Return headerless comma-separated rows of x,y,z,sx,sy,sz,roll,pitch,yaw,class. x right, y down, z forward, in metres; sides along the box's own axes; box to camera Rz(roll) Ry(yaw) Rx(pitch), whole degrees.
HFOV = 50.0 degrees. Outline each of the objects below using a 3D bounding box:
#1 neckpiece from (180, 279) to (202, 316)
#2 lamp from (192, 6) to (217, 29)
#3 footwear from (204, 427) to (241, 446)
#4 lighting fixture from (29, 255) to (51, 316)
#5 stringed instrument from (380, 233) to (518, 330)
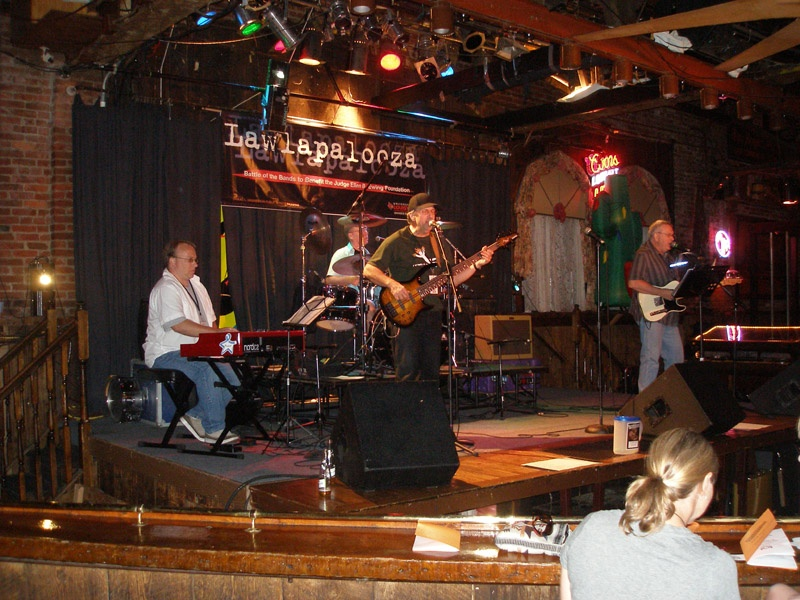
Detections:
-1.819,-0.043,7.501,0.094,0.346,0.034,-22,1,-35,neckpiece
-1.829,-2.657,8.070,0.142,0.078,0.296,5,-4,-29,lamp
-1.468,1.114,7.046,0.264,0.114,0.139,-2,-9,5,footwear
-3.602,-0.122,8.567,0.253,0.398,0.162,0,-4,42,lighting fixture
0.240,-0.166,6.974,0.832,0.696,0.588,4,3,-12,stringed instrument
